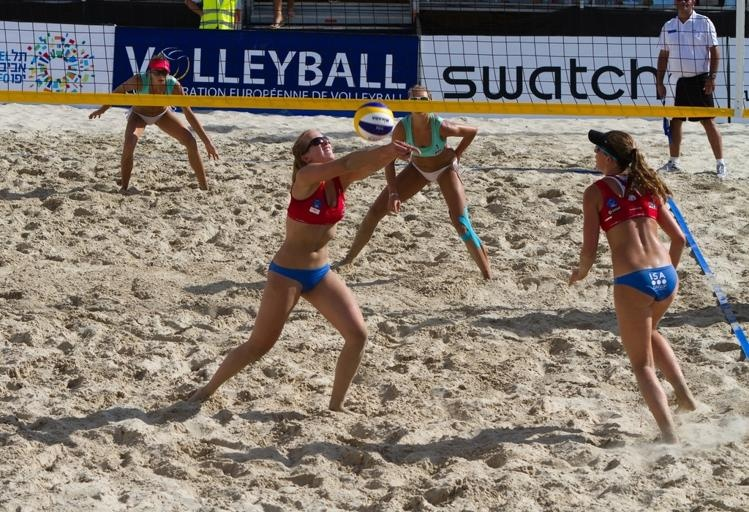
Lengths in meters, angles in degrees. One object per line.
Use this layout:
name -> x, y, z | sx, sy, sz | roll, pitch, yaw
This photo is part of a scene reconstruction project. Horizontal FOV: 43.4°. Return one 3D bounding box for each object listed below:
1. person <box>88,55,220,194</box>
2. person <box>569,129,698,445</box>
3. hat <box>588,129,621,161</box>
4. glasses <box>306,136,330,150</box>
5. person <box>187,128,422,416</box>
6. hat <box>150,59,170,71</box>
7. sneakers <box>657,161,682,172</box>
person -> -2.279, -1.409, 9.941 | 0.985, 1.426, 0.811 | 3, 13, 15
person -> 1.982, 0.173, 7.124 | 0.938, 2.190, 0.638 | 9, 16, 36
hat -> 1.739, -0.832, 7.205 | 0.264, 0.085, 0.161 | 39, 28, 7
glasses -> -0.443, -0.868, 7.131 | 0.103, 0.038, 0.123 | -11, -7, -37
person -> -0.466, 0.152, 7.178 | 1.504, 2.185, 0.437 | 0, 13, 3
hat -> -2.230, -2.018, 9.805 | 0.142, 0.106, 0.179 | -1, -5, -20
sneakers -> 3.388, -1.051, 10.843 | 0.274, 0.125, 0.117 | 2, 8, 19
